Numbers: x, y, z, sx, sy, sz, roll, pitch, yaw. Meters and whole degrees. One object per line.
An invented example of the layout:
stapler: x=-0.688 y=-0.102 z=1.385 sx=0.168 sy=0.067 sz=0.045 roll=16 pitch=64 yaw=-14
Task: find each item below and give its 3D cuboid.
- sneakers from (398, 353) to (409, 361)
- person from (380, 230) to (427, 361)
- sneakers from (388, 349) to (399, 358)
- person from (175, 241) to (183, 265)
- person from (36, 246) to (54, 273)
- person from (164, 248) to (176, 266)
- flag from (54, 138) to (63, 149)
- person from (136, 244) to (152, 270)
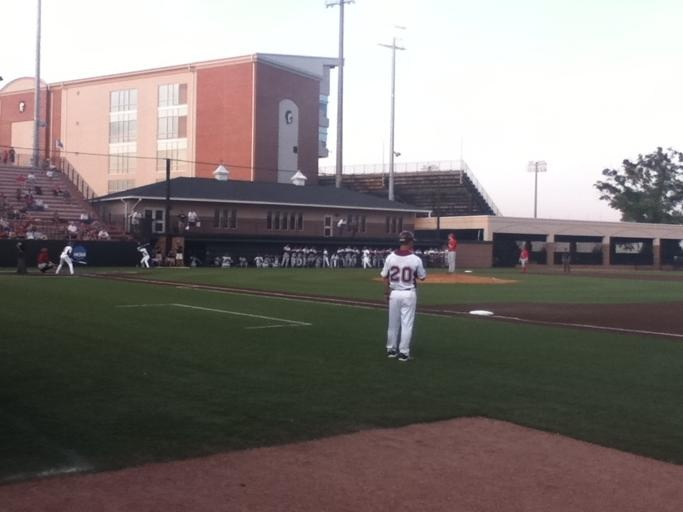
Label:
sneakers: x=1.134 y=1.831 z=14.620 sx=0.247 sy=0.174 sz=0.084 roll=0 pitch=2 yaw=4
person: x=1.123 y=0.733 z=14.633 sx=0.761 sy=2.328 sz=0.497 roll=2 pitch=7 yaw=7
sneakers: x=0.944 y=1.789 z=14.898 sx=0.121 sy=0.139 sz=0.158 roll=2 pitch=27 yaw=39
person: x=-10.658 y=-0.082 z=53.177 sx=0.524 sy=1.379 sz=0.940 roll=-1 pitch=8 yaw=-12
person: x=-15.322 y=0.156 z=41.561 sx=0.869 sy=1.569 sz=1.150 roll=-4 pitch=7 yaw=-33
person: x=-11.226 y=0.099 z=53.072 sx=0.644 sy=0.924 sz=1.088 roll=-1 pitch=8 yaw=-12
flag: x=-28.400 y=-11.246 z=80.865 sx=0.712 sy=1.032 sz=1.013 roll=0 pitch=-3 yaw=8
person: x=-12.078 y=0.046 z=49.288 sx=0.665 sy=1.370 sz=2.498 roll=-1 pitch=8 yaw=-15
